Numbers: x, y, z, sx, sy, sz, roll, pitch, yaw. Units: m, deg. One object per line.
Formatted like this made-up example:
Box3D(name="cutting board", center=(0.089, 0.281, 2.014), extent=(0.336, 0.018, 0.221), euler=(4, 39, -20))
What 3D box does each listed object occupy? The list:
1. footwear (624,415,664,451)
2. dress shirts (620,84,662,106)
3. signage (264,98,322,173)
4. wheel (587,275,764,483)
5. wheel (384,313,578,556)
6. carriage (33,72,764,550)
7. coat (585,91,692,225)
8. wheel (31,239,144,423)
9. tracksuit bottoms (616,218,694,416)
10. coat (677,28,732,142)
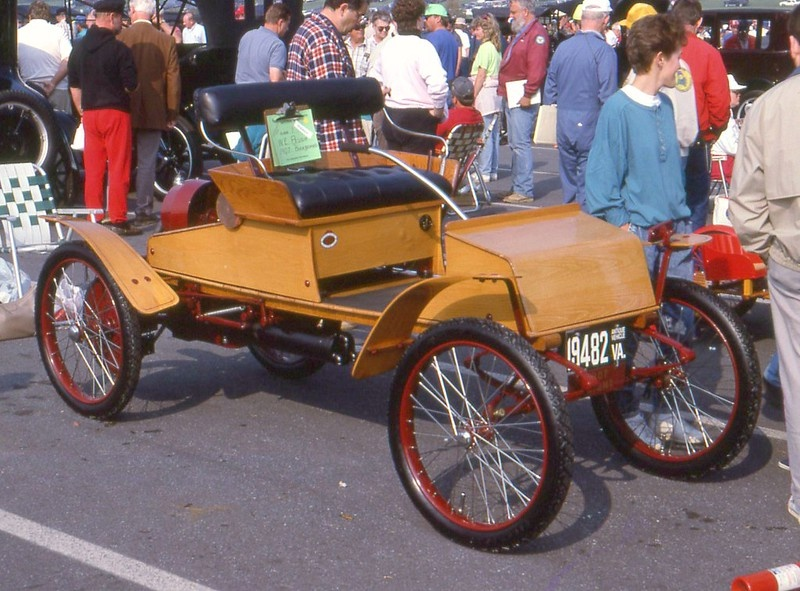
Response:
Box3D(name="footwear", center=(1.352, 0.756, 4.293), extent=(0.131, 0.224, 0.055), euler=(-38, -9, 4))
Box3D(name="dress shirts", center=(1.415, -1.166, 4.544), extent=(0.151, 0.040, 0.149), euler=(33, 18, 14))
Box3D(name="signage", center=(-0.667, -0.997, 4.782), extent=(0.464, 0.562, 0.078), euler=(-16, 11, -42))
Box3D(name="wheel", center=(1.431, 0.477, 4.088), extent=(0.198, 0.869, 0.795), euler=(-5, -19, -40))
Box3D(name="wheel", center=(0.391, 0.703, 3.769), extent=(0.160, 0.834, 0.781), euler=(-13, -14, -43))
Box3D(name="carriage", center=(-0.237, 0.021, 4.826), extent=(4.256, 2.511, 2.162), euler=(11, 14, 39))
Box3D(name="coat", center=(1.434, -0.810, 4.606), extent=(0.803, 0.892, 0.423), euler=(-11, 15, -35))
Box3D(name="wheel", center=(-1.946, 0.245, 4.839), extent=(1.037, 1.191, 0.194), euler=(-1, 10, 42))
Box3D(name="tracksuit bottoms", center=(1.561, 0.116, 4.423), extent=(0.266, 1.017, 0.855), euler=(0, -8, 9))
Box3D(name="coat", center=(2.793, -1.928, 7.024), extent=(0.298, 0.823, 0.597), euler=(-28, 16, 7))
